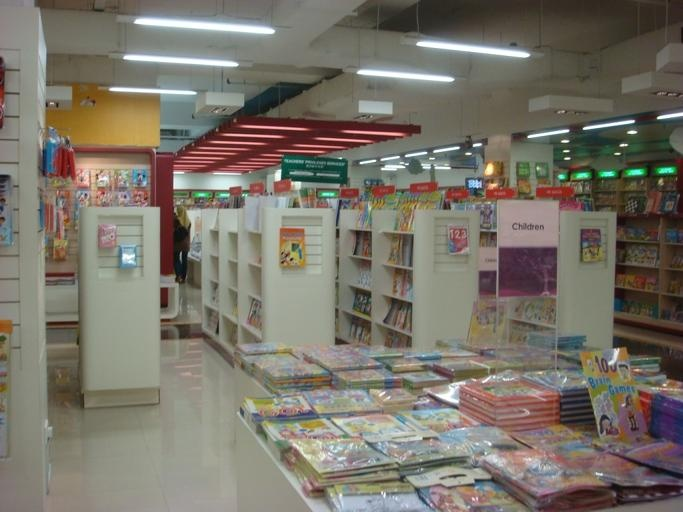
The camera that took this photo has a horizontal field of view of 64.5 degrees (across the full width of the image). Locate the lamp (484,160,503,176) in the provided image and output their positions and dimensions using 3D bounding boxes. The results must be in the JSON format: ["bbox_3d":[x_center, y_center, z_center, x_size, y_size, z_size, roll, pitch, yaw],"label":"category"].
[{"bbox_3d":[4.172,-2.381,14.820,0.193,0.422,0.709,-3,8,-17],"label":"lamp"}]
